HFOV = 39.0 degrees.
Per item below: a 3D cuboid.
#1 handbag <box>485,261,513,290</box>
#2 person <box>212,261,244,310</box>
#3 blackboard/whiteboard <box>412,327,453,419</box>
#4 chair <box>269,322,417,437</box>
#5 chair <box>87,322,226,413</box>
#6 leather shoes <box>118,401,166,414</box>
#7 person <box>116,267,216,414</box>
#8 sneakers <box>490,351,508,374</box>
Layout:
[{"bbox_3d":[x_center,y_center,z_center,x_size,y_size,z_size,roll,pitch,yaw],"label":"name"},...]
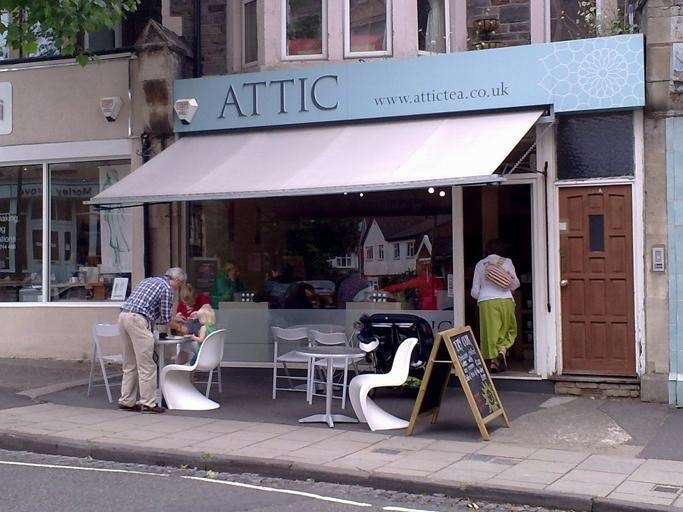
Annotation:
[{"bbox_3d":[2.452,0.304,15.103,0.407,0.441,0.228,1,8,11],"label":"handbag"},{"bbox_3d":[-1.996,0.508,16.863,0.547,0.780,0.136,0,8,2],"label":"person"},{"bbox_3d":[1.253,1.663,13.548,0.447,1.357,1.112,14,2,17],"label":"blackboard/whiteboard"},{"bbox_3d":[0.264,1.719,13.281,1.469,1.224,0.880,2,8,17],"label":"chair"},{"bbox_3d":[-2.370,1.643,14.547,1.455,1.392,1.139,-2,-2,21],"label":"chair"},{"bbox_3d":[-2.879,2.156,13.939,0.633,0.277,0.243,0,-3,6],"label":"leather shoes"},{"bbox_3d":[-2.784,1.217,13.853,0.903,1.997,0.520,-3,8,-15],"label":"person"},{"bbox_3d":[2.480,1.688,15.229,0.162,0.213,0.513,-1,2,19],"label":"sneakers"}]
